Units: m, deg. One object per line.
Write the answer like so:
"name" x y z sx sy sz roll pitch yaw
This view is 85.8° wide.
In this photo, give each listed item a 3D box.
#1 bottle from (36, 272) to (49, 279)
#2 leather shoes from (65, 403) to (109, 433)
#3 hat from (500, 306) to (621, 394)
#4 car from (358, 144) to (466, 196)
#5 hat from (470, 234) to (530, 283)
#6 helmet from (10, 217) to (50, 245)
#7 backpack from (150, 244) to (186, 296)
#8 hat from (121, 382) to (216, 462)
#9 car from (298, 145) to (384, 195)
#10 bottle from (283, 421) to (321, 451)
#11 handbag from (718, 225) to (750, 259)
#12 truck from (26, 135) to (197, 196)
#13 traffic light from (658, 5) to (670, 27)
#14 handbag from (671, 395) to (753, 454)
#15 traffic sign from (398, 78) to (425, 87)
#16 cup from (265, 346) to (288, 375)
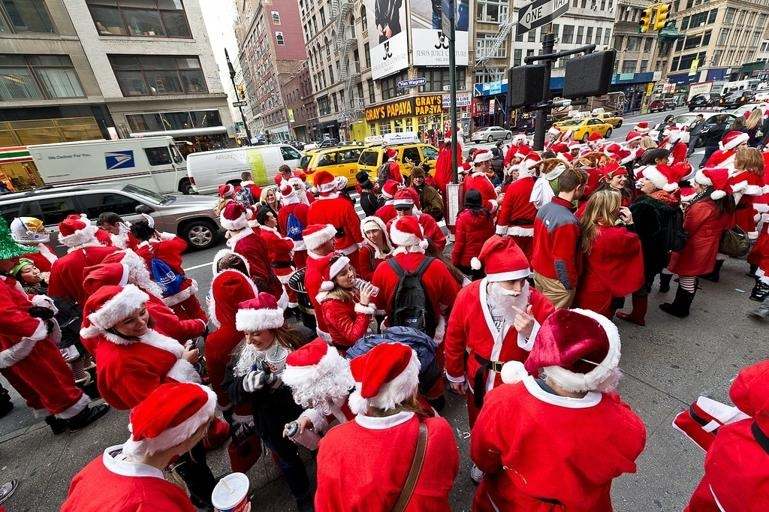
"bottle" -5.679 0.302 6.895 0.117 0.029 0.118 16 -12 4
"leather shoes" -4.460 2.386 6.387 0.226 0.266 0.625 10 16 39
"hat" 1.869 0.979 4.323 1.051 0.860 0.483 -5 25 7
"car" 0.962 -2.782 13.888 3.399 1.714 1.835 -18 25 -21
"hat" 1.441 0.042 5.072 0.414 0.506 0.485 -18 26 -21
"helmet" -6.025 -0.445 7.230 0.620 0.475 0.470 -12 21 -42
"backpack" -3.479 0.277 6.611 0.549 0.580 0.159 -27 -12 -21
"hat" -2.228 1.698 4.522 0.670 0.362 0.850 9 27 21
"car" -1.398 -3.063 15.290 3.308 1.443 1.867 -16 26 -29
"bottle" -0.945 2.078 4.894 0.378 0.483 0.130 -17 26 -19
"handbag" 5.729 -0.282 6.794 0.231 0.431 0.439 -17 20 -24
"truck" -10.125 -3.577 15.881 3.851 1.819 2.353 -12 29 -23
"traffic light" 7.888 -6.762 11.798 0.306 0.550 1.282 7 27 30
"handbag" 3.796 1.810 4.734 0.285 0.687 0.671 -54 11 -11
"traffic sign" 1.942 -11.764 28.279 1.862 0.464 0.250 -1 6 -7
"cup" -1.334 1.272 5.124 0.322 0.311 0.184 -2 -11 -2
